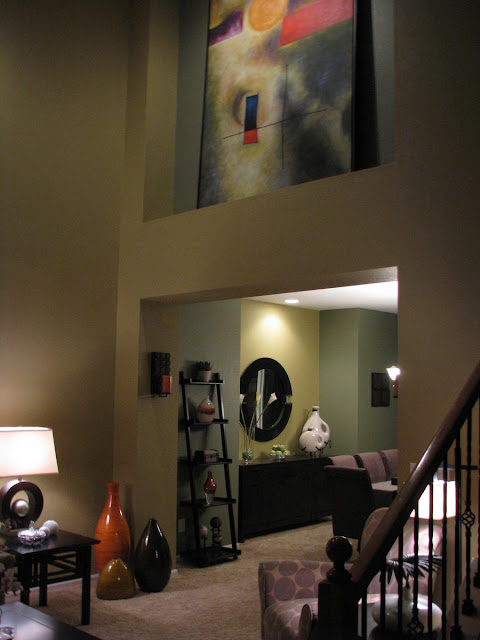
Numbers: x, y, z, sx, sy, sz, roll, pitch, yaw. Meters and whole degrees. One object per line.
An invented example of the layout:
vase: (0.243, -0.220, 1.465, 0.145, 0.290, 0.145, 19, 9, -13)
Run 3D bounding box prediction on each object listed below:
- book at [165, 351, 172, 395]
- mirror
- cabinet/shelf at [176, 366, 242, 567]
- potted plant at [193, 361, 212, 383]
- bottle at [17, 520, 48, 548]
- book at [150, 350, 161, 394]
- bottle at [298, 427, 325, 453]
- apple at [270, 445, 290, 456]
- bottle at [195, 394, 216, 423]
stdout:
book: (-0.606, 0.468, 4.716, 0.053, 0.351, 0.180, 0, -3, -6)
mirror: (0.337, 1.035, 7.222, 0.844, 1.076, 0.034, -1, -1, 34)
cabinet/shelf: (-0.247, 1.383, 5.322, 0.503, 1.799, 0.792, -2, -3, 43)
potted plant: (-0.362, 0.525, 5.466, 0.156, 0.219, 0.162, -9, -17, 24)
bottle: (-1.293, 1.348, 3.492, 0.125, 0.125, 0.139, -1, -4, 22)
book: (-0.703, 0.451, 4.607, 0.089, 0.351, 0.053, 1, -2, -15)
bottle: (0.965, 1.610, 7.343, 0.330, 0.314, 0.271, 0, -3, 9)
apple: (0.505, 1.657, 7.003, 0.139, 0.135, 0.173, 2, -4, 4)
bottle: (-0.329, 0.872, 5.304, 0.164, 0.346, 0.189, 2, -5, -7)
